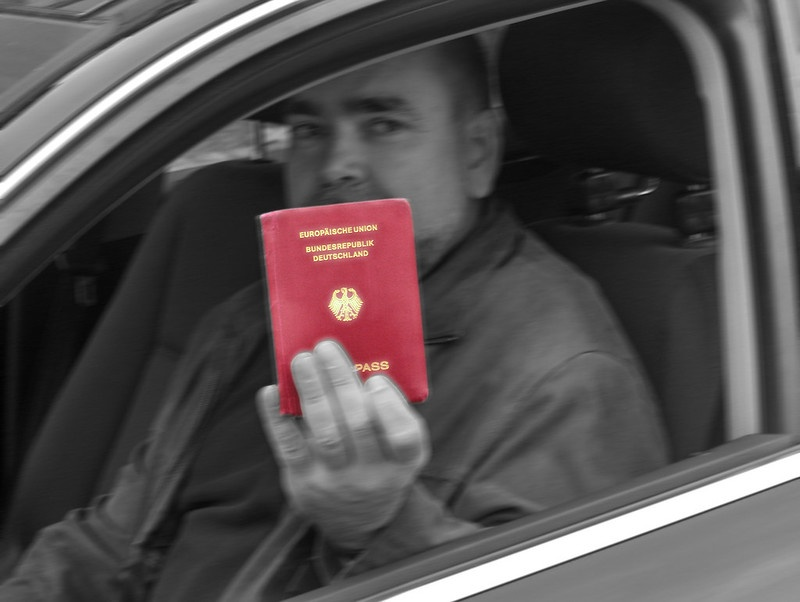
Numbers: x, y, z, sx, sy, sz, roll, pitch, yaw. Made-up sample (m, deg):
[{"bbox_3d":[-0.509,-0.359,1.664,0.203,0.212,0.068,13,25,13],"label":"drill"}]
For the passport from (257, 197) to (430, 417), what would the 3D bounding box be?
[{"bbox_3d":[-0.077,-0.002,1.046,0.340,0.252,0.081,-6,6,-11],"label":"passport"}]
